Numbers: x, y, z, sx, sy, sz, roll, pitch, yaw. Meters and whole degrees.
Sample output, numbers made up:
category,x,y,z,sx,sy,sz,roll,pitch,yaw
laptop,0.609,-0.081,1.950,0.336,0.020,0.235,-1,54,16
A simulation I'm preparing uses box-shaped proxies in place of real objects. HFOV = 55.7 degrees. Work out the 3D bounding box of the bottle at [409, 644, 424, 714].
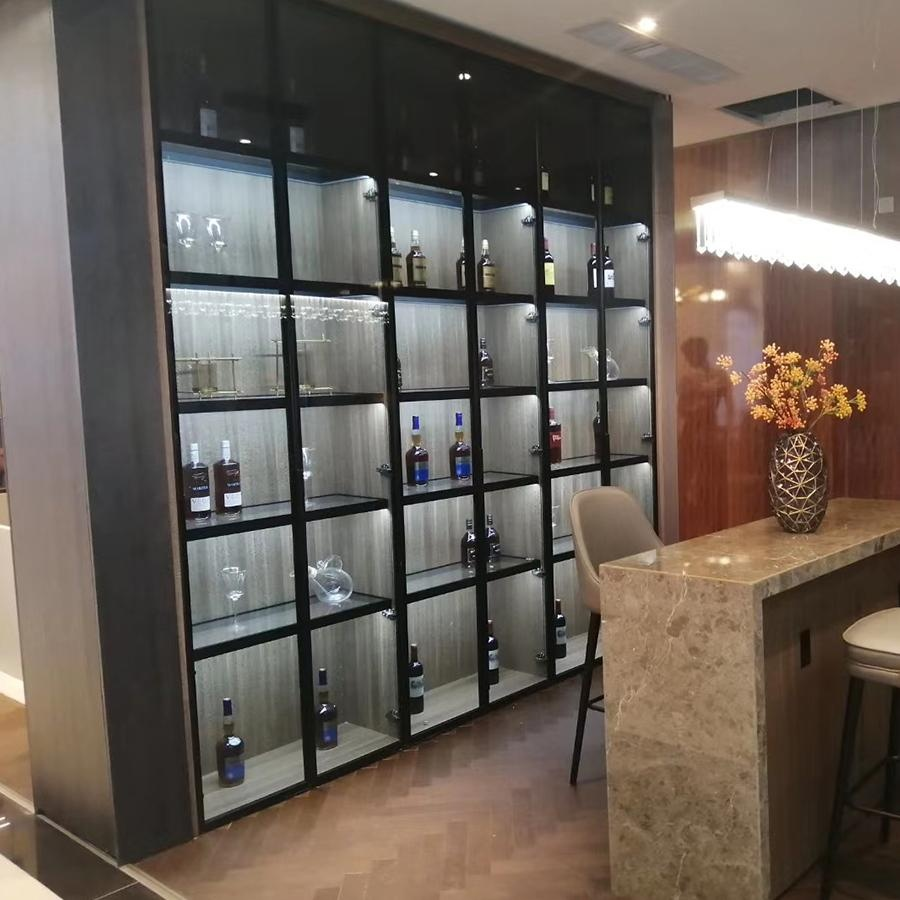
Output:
category,x,y,z,sx,sy,sz,roll,pitch,yaw
bottle,-0.151,0.979,3.662,0.064,0.312,0.074,-2,13,-4

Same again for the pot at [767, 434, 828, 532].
category,x,y,z,sx,sy,sz,roll,pitch,yaw
pot,1.111,0.103,2.729,0.172,0.311,0.177,-1,5,0

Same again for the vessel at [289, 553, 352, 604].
category,x,y,z,sx,sy,sz,roll,pitch,yaw
vessel,-0.511,0.513,3.448,0.121,0.231,0.211,-4,12,32

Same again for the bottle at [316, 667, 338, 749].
category,x,y,z,sx,sy,sz,roll,pitch,yaw
bottle,-0.477,1.016,3.346,0.057,0.334,0.120,3,7,43

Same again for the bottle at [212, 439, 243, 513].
category,x,y,z,sx,sy,sz,roll,pitch,yaw
bottle,-0.787,0.095,3.021,0.097,0.258,0.043,-6,6,-41

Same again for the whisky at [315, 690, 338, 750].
category,x,y,z,sx,sy,sz,roll,pitch,yaw
whisky,-0.491,1.050,3.369,0.077,0.281,0.087,-3,9,-13

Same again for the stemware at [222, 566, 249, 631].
category,x,y,z,sx,sy,sz,roll,pitch,yaw
stemware,-0.769,0.517,3.042,0.054,0.212,0.095,0,5,13

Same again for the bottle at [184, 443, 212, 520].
category,x,y,z,sx,sy,sz,roll,pitch,yaw
bottle,-0.862,0.109,2.910,0.057,0.257,0.108,0,5,15

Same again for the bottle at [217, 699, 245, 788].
category,x,y,z,sx,sy,sz,roll,pitch,yaw
bottle,-0.783,1.047,3.046,0.117,0.337,0.071,-5,6,-36

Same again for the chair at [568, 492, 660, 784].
category,x,y,z,sx,sy,sz,roll,pitch,yaw
chair,0.611,0.691,3.170,0.333,1.078,0.716,0,5,12
